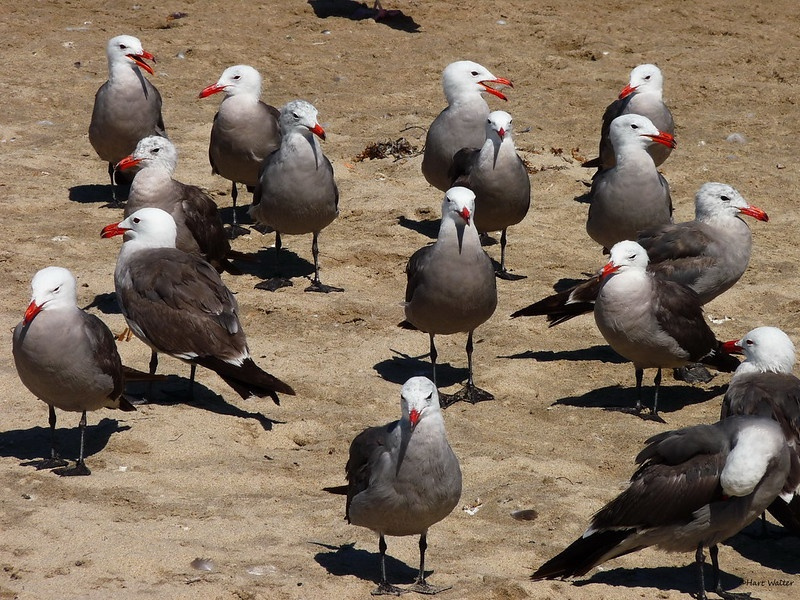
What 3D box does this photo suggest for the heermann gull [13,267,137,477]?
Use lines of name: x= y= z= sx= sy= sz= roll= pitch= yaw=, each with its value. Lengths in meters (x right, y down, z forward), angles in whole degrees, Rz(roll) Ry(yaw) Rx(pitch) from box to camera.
heermann gull: x=-3.229 y=0.688 z=14.150 sx=1.141 sy=1.933 sz=0.938 roll=9 pitch=21 yaw=-10
